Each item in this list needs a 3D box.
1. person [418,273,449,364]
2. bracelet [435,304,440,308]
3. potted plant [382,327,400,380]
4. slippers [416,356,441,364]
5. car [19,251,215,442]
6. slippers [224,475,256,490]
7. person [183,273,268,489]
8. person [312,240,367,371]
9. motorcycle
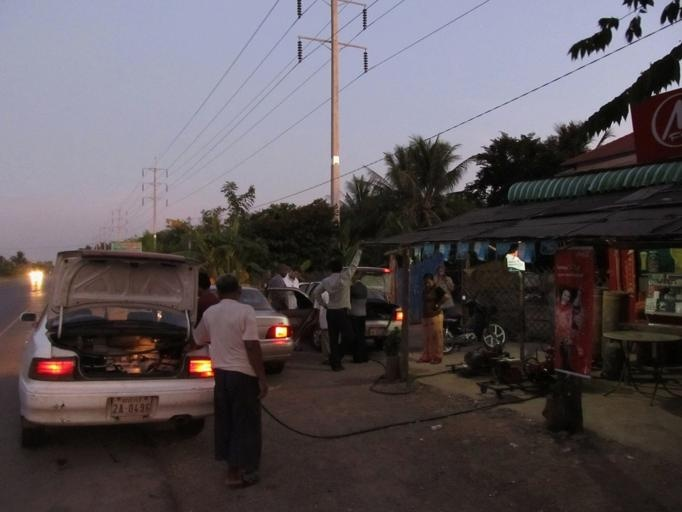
[{"bbox_3d":[1.735,1.201,10.737,0.491,1.710,0.329,0,2,17],"label":"person"},{"bbox_3d":[1.807,0.938,10.645,0.052,0.053,0.095,-3,-18,13],"label":"bracelet"},{"bbox_3d":[0.893,1.679,9.643,0.354,0.944,0.347,0,-18,6],"label":"potted plant"},{"bbox_3d":[1.678,1.993,10.740,0.279,0.114,0.197,-1,0,3],"label":"slippers"},{"bbox_3d":[-2.887,0.977,7.395,1.893,1.843,3.359,0,3,-17],"label":"car"},{"bbox_3d":[-0.986,2.181,5.522,0.307,0.140,0.106,-3,5,-22],"label":"slippers"},{"bbox_3d":[-1.064,1.354,5.540,0.669,1.766,0.345,0,2,2],"label":"person"},{"bbox_3d":[-0.106,1.092,10.549,0.812,2.046,0.422,0,2,-3],"label":"person"},{"bbox_3d":[3.186,1.620,13.093,1.967,1.302,0.899,-10,5,-26],"label":"motorcycle"}]
